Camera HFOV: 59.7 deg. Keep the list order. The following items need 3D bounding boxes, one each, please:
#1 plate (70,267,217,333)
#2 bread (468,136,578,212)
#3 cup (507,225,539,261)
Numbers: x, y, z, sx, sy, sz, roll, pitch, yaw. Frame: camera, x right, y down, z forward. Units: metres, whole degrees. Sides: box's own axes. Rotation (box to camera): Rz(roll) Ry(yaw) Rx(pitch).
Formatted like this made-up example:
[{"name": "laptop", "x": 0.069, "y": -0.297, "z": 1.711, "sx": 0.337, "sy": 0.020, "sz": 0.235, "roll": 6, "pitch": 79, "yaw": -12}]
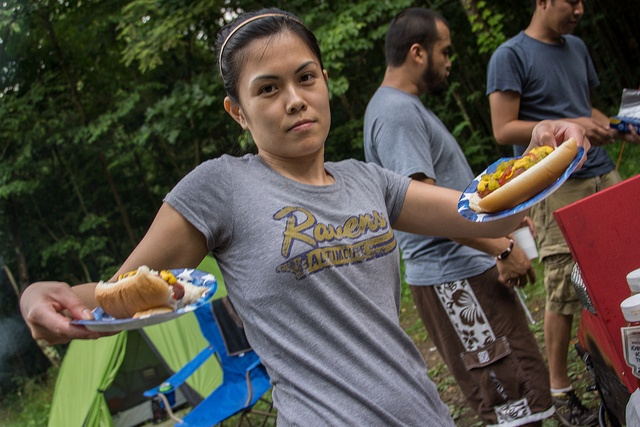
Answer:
[{"name": "plate", "x": -0.751, "y": 0.446, "z": 2.586, "sx": 0.447, "sy": 0.077, "sz": 0.354, "roll": -27, "pitch": 4, "yaw": -8}, {"name": "bread", "x": 1.075, "y": -0.190, "z": 2.955, "sx": 0.526, "sy": 0.163, "sz": 0.363, "roll": -45, "pitch": 13, "yaw": -9}, {"name": "cup", "x": 1.561, "y": 0.245, "z": 4.286, "sx": 0.204, "sy": 0.231, "sz": 0.222, "roll": -21, "pitch": -29, "yaw": -12}]
